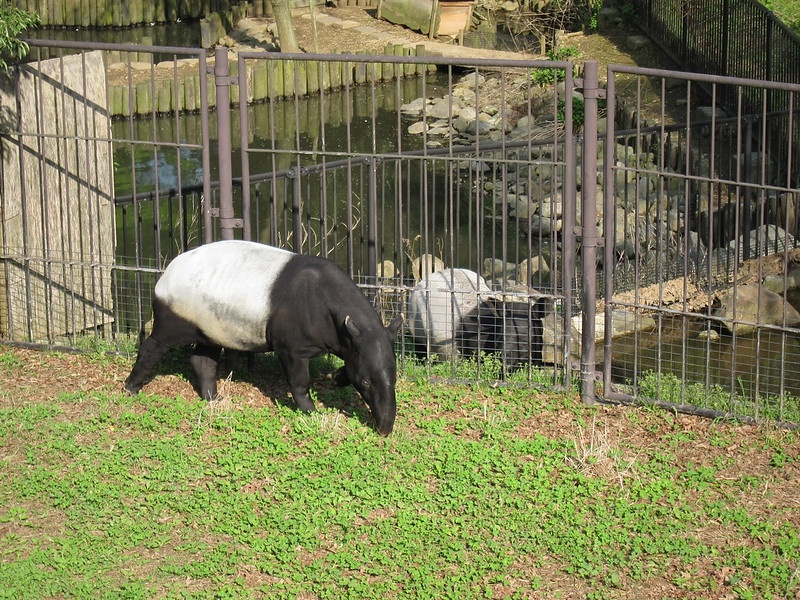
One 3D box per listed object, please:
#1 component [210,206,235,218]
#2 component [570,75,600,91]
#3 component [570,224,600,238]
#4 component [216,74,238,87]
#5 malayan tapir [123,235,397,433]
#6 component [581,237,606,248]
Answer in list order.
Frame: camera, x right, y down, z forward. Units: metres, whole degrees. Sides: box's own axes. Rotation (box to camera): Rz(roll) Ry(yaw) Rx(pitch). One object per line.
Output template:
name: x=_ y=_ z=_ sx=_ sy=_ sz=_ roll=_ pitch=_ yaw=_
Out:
component: x=-1.626 y=-0.807 z=10.536 sx=0.207 sy=0.100 sz=0.225 roll=0 pitch=6 yaw=-7
component: x=1.621 y=-1.860 z=9.959 sx=0.223 sy=0.168 sz=0.303 roll=2 pitch=6 yaw=11
component: x=1.624 y=-0.607 z=10.017 sx=0.277 sy=0.117 sz=0.171 roll=0 pitch=6 yaw=-7
component: x=-1.560 y=-1.991 z=10.368 sx=0.197 sy=0.093 sz=0.246 roll=0 pitch=6 yaw=-10
malayan tapir: x=-1.208 y=0.279 z=9.955 sx=2.515 sy=1.538 sz=0.760 roll=11 pitch=18 yaw=16
component: x=1.740 y=-0.513 z=10.064 sx=0.129 sy=0.106 sz=0.134 roll=0 pitch=0 yaw=-10
